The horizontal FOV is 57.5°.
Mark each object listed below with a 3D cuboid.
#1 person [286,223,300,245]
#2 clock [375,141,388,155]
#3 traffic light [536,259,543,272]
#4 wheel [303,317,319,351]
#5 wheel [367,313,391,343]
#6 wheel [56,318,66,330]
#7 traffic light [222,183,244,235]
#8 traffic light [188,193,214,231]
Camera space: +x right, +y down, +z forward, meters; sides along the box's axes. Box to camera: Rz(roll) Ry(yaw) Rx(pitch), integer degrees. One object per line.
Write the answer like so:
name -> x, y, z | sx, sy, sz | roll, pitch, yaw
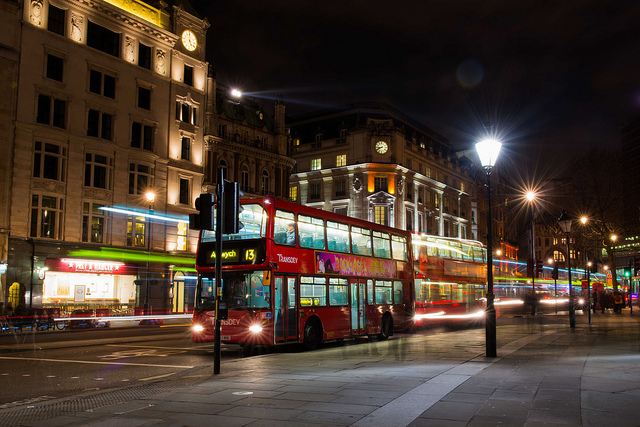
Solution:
person -> -1.291, 0.887, 25.707 | 0.159, 0.845, 0.674 | -1, -1, 28
clock -> 8.261, -8.801, 78.420 | 1.667, 1.665, 0.372 | -1, 0, -20
traffic light -> 17.609, 4.189, 46.538 | 0.332, 1.022, 0.720 | -2, -1, 35
wheel -> -0.427, 5.420, 26.428 | 0.406, 1.295, 1.301 | -3, -20, 25
wheel -> 3.077, 5.975, 30.640 | 0.562, 1.536, 1.515 | 3, -3, 40
wheel -> -18.373, 7.774, 41.184 | 0.563, 0.594, 1.064 | -1, -2, -20
traffic light -> -3.064, -0.143, 20.236 | 0.794, 1.721, 0.930 | 1, 0, 23
traffic light -> -4.103, 0.058, 20.431 | 1.171, 1.743, 0.914 | 1, -3, -6
